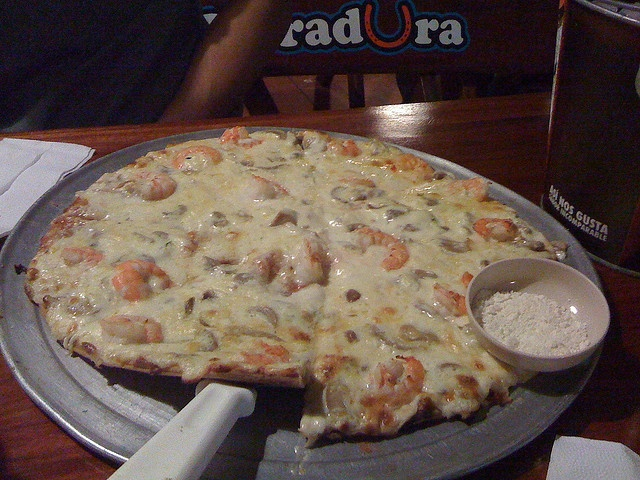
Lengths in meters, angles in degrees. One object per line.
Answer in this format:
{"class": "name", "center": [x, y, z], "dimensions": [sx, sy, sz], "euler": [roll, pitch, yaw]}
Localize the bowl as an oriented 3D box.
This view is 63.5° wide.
{"class": "bowl", "center": [0.384, 0.114, 0.930], "dimensions": [0.297, 0.089, 0.228], "euler": [2, 32, 5]}
